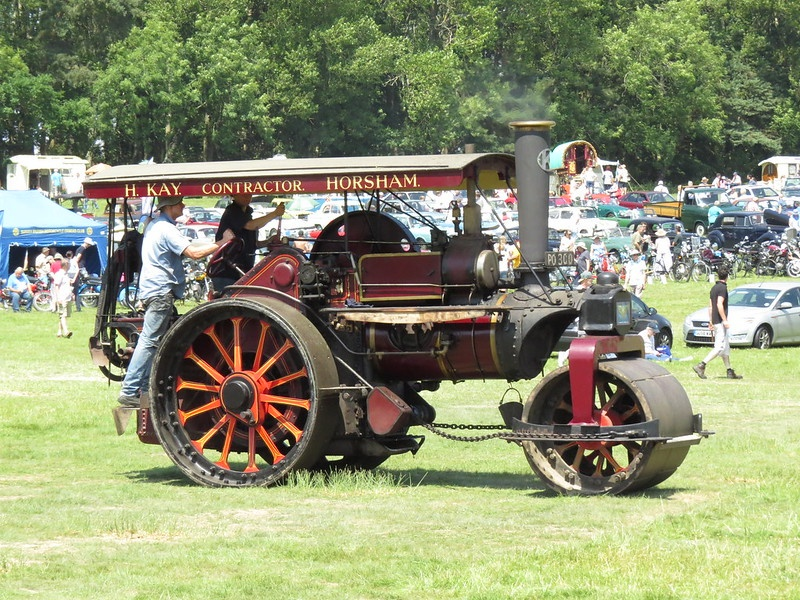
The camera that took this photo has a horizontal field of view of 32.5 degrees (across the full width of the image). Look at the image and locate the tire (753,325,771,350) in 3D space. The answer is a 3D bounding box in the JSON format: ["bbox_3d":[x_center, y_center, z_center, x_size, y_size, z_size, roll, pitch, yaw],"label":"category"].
[{"bbox_3d":[8.494,0.795,29.255,0.662,0.459,0.171,1,1,-39],"label":"tire"}]

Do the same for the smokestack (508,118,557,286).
[{"bbox_3d":[1.570,-1.033,14.726,0.484,1.775,0.428,1,1,5],"label":"smokestack"}]

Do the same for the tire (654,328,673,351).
[{"bbox_3d":[6.055,0.817,28.680,0.149,0.459,0.458,5,6,40],"label":"tire"}]

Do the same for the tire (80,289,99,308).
[{"bbox_3d":[-9.024,-0.061,37.269,0.643,0.645,0.229,1,2,3],"label":"tire"}]

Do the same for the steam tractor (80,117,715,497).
[{"bbox_3d":[-0.204,0.285,15.296,7.074,3.970,2.949,-1,1,17],"label":"steam tractor"}]

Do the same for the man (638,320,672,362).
[{"bbox_3d":[5.205,0.751,25.441,0.669,1.087,0.654,-2,7,-5],"label":"man"}]

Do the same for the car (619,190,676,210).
[{"bbox_3d":[11.845,-4.383,59.927,2.158,0.683,1.252,-1,5,39],"label":"car"}]

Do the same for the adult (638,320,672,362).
[{"bbox_3d":[5.205,0.751,25.441,0.669,1.087,0.654,-2,7,-5],"label":"adult"}]

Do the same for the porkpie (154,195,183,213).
[{"bbox_3d":[-2.748,-1.076,15.378,0.264,0.146,0.190,-17,18,-34],"label":"porkpie"}]
